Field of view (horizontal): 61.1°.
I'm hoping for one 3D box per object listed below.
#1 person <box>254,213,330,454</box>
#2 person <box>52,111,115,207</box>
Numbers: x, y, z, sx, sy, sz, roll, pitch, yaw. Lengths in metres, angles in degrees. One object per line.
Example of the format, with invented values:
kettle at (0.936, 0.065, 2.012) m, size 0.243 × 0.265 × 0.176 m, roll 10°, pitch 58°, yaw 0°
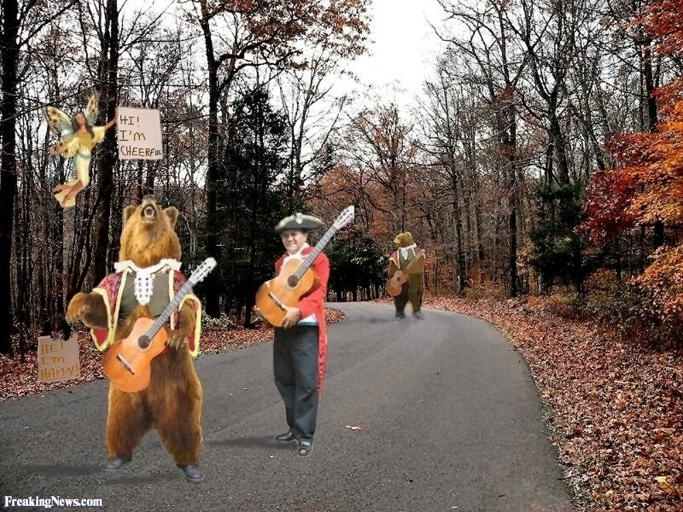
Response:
person at (-0.625, 1.158, 8.723) m, size 0.842 × 3.506 × 0.974 m, roll 0°, pitch 11°, yaw -1°
person at (-3.930, -1.407, 8.681) m, size 0.777 × 1.410 × 0.874 m, roll -2°, pitch 12°, yaw -9°
